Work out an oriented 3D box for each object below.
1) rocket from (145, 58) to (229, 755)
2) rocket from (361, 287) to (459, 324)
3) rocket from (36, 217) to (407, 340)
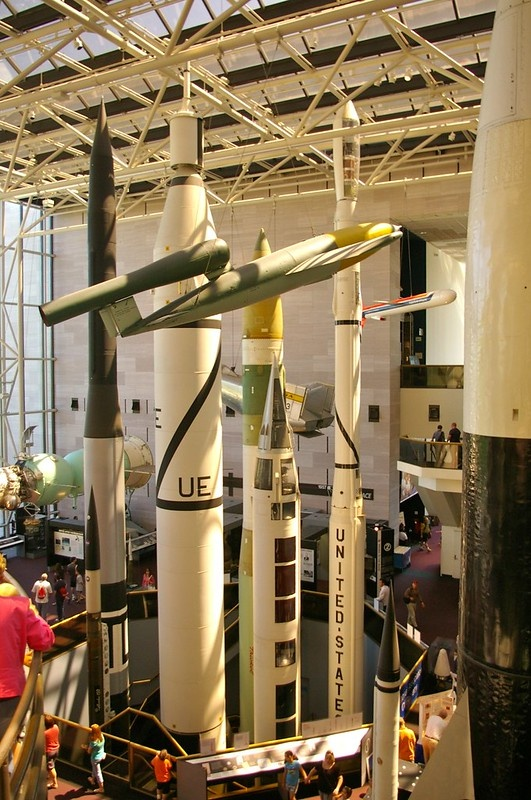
[{"bbox_3d":[-0.876,0.514,8.496,0.681,6.950,0.760,-17,-25,34],"label":"rocket"},{"bbox_3d":[3.076,-2.040,15.531,1.514,0.556,1.374,-7,23,49],"label":"rocket"},{"bbox_3d":[-0.349,-1.000,6.028,1.946,0.440,1.659,-25,18,-21],"label":"rocket"}]
